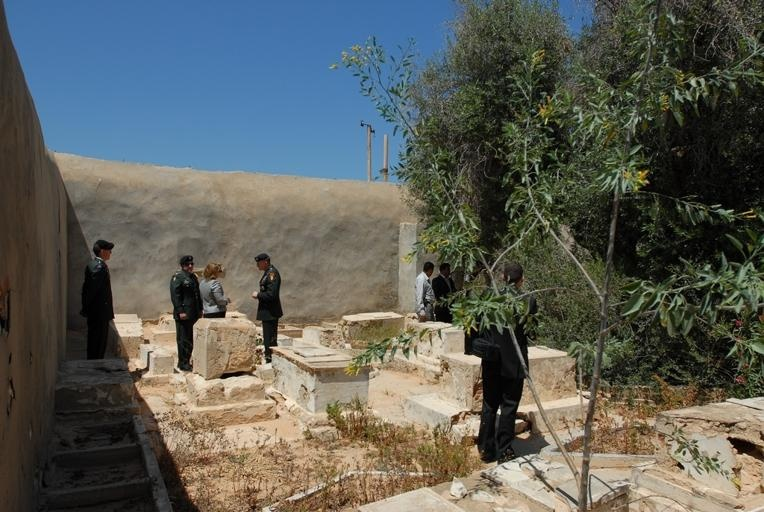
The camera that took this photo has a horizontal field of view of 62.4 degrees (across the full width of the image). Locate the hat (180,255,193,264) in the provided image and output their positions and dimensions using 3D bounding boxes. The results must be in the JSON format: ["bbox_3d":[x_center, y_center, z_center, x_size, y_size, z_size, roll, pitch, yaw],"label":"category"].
[{"bbox_3d":[-3.474,0.038,11.181,0.283,0.123,0.239,-9,-3,34],"label":"hat"}]

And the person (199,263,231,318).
[{"bbox_3d":[-2.769,0.547,10.358,0.421,0.913,0.565,-2,0,-8],"label":"person"}]

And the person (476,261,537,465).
[{"bbox_3d":[1.360,1.182,6.965,0.670,2.008,0.719,-2,0,15],"label":"person"}]

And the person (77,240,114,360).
[{"bbox_3d":[-4.402,0.655,9.732,0.456,1.977,0.386,-2,0,-25],"label":"person"}]

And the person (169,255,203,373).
[{"bbox_3d":[-3.198,0.918,10.360,0.484,1.972,0.647,-2,0,-19],"label":"person"}]

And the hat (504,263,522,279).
[{"bbox_3d":[1.418,0.136,6.806,0.141,0.209,0.196,3,21,13],"label":"hat"}]

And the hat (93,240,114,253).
[{"bbox_3d":[-4.808,-0.196,10.819,0.348,0.207,0.490,1,9,-1],"label":"hat"}]

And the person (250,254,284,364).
[{"bbox_3d":[-1.873,0.838,10.385,0.425,1.809,1.124,-2,0,-10],"label":"person"}]

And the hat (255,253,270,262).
[{"bbox_3d":[-2.212,-0.003,11.612,0.296,0.117,0.279,-6,12,-35],"label":"hat"}]
